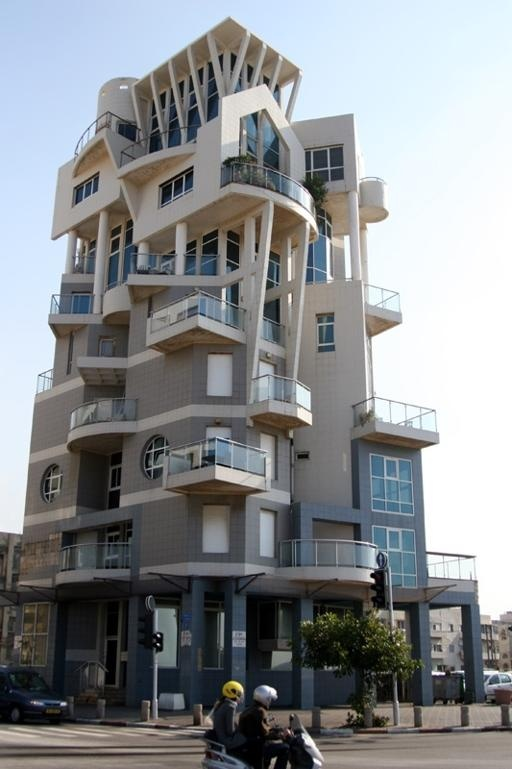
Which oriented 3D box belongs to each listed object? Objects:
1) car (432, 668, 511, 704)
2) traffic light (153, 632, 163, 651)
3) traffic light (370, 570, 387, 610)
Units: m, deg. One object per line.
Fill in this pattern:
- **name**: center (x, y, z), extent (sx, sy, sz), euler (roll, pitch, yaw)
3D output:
- **car**: center (10.349, 14.592, 33.800), extent (3.274, 1.309, 5.195), euler (-15, -26, 30)
- **traffic light**: center (-2.841, 7.507, 20.494), extent (0.242, 0.506, 0.614), euler (-2, -22, 2)
- **traffic light**: center (3.347, 5.605, 19.264), extent (0.349, 1.094, 1.313), euler (-4, -22, 7)
